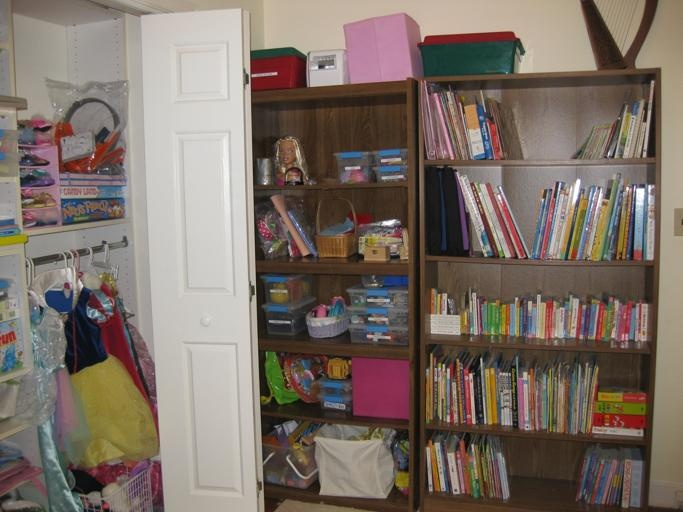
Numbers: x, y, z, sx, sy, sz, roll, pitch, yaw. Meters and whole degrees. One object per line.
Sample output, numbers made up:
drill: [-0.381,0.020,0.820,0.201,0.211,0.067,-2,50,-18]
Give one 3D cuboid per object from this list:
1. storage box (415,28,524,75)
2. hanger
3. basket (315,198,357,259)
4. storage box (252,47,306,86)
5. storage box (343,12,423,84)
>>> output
storage box: [0.662,-1.017,3.035,0.413,0.173,0.278,2,12,19]
hanger: [-1.321,0.012,2.955,0.176,0.253,0.598,12,18,43]
basket: [-0.027,-0.172,3.388,0.253,0.410,0.346,2,12,12]
storage box: [-0.369,-1.015,3.237,0.227,0.159,0.241,3,8,27]
storage box: [0.194,-1.134,3.299,0.487,0.350,0.476,-12,6,-33]
